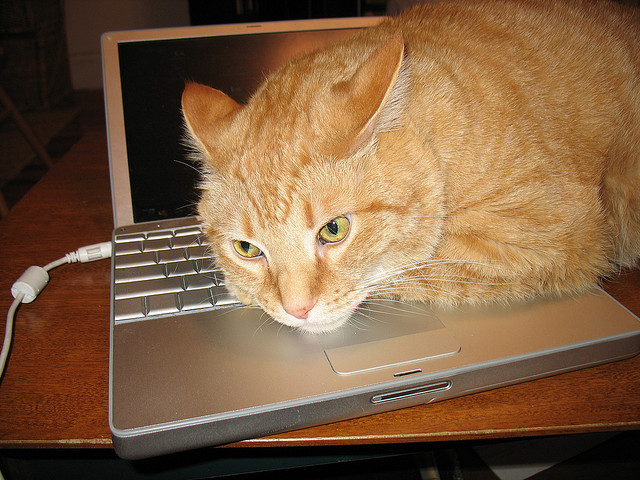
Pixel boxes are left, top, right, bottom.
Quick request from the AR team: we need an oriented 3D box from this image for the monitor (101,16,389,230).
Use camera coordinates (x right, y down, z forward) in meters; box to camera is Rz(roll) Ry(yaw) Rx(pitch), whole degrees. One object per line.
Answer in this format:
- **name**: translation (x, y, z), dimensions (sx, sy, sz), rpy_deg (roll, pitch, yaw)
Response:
- **monitor**: translation (-0.167, -0.233, 1.192), dimensions (0.489, 0.303, 0.022), rpy_deg (-12, 11, -10)
